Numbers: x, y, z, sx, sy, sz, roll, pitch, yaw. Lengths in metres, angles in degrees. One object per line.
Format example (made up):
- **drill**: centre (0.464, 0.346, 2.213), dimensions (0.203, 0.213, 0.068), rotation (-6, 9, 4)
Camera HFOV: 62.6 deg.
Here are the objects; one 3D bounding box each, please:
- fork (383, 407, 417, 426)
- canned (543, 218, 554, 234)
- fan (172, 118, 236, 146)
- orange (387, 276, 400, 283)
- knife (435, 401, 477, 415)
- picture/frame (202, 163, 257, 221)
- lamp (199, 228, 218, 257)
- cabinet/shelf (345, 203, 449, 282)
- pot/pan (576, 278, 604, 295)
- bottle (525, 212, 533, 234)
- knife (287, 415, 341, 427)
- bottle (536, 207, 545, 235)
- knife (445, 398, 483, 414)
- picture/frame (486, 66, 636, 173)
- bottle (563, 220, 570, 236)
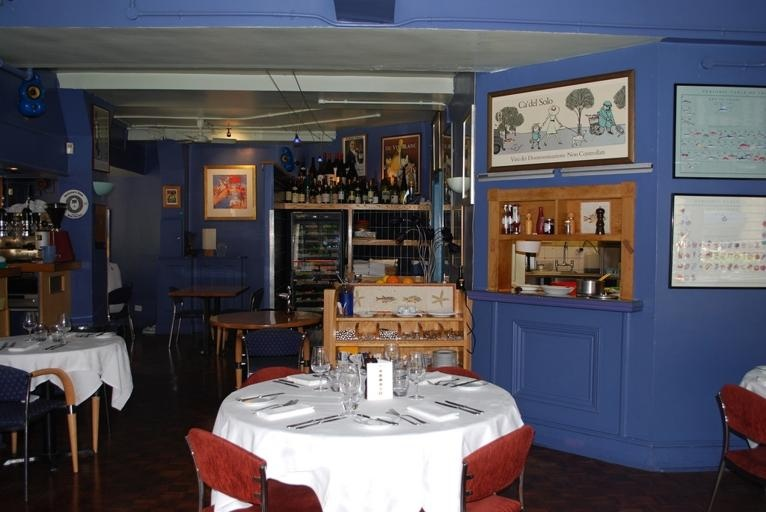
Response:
- **fork**: centre (0.117, 1.143, 4.478), dimensions (0.077, 0.035, 0.278), rotation (-4, 7, -27)
- **canned**: centre (1.725, -0.316, 6.551), dimensions (0.143, 0.146, 0.140), rotation (1, -1, -42)
- **fan**: centre (-3.182, -2.220, 11.254), dimensions (0.812, 0.301, 0.423), rotation (1, 3, -1)
- **orange**: centre (0.101, 0.258, 7.202), dimensions (0.099, 0.087, 0.094), rotation (-1, 3, 0)
- **knife**: centre (0.542, 1.110, 4.655), dimensions (0.331, 0.020, 0.090), rotation (4, 10, 42)
- **picture/frame**: centre (-2.896, -1.207, 11.667), dimensions (1.146, 1.102, 0.080), rotation (0, -2, -8)
- **lamp**: centre (-3.184, -0.271, 11.465), dimensions (0.285, 0.493, 0.384), rotation (-3, 11, -16)
- **cabinet/shelf**: centre (0.236, -0.229, 9.463), dimensions (1.284, 1.109, 0.435), rotation (1, 1, 6)
- **pot/pan**: centre (2.040, 0.300, 6.316), dimensions (0.183, 0.120, 0.175), rotation (0, 0, -10)
- **bottle**: centre (1.557, -0.352, 6.705), dimensions (0.068, 0.198, 0.278), rotation (3, 10, 13)
- **knife**: centre (-0.486, 1.159, 4.410), dimensions (0.377, 0.009, 0.112), rotation (-3, 4, -40)
- **bottle**: centre (1.655, -0.381, 6.639), dimensions (0.081, 0.256, 0.297), rotation (3, 10, 14)
- **knife**: centre (0.580, 1.111, 4.640), dimensions (0.089, 0.023, 0.365), rotation (-11, 8, -40)
- **picture/frame**: centre (1.846, -1.385, 6.339), dimensions (1.251, 0.681, 0.046), rotation (0, 1, 31)
- **bottle**: centre (1.900, -0.316, 6.481), dimensions (0.068, 0.149, 0.158), rotation (2, 10, 8)
